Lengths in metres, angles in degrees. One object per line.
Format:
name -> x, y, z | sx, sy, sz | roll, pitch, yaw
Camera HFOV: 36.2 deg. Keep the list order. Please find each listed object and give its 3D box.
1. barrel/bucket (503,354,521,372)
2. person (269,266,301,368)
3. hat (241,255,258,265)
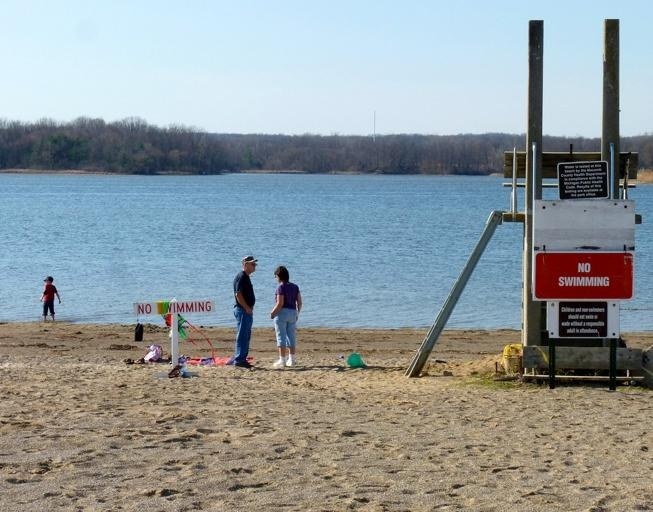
barrel/bucket -> 2.646, 1.523, 14.186 | 0.312, 0.240, 0.208 | 1, 3, 26
person -> -0.667, 0.961, 16.145 | 0.483, 1.598, 0.550 | -1, 3, -4
hat -> -1.916, 0.083, 24.494 | 0.378, 0.240, 0.491 | 0, -4, -40
